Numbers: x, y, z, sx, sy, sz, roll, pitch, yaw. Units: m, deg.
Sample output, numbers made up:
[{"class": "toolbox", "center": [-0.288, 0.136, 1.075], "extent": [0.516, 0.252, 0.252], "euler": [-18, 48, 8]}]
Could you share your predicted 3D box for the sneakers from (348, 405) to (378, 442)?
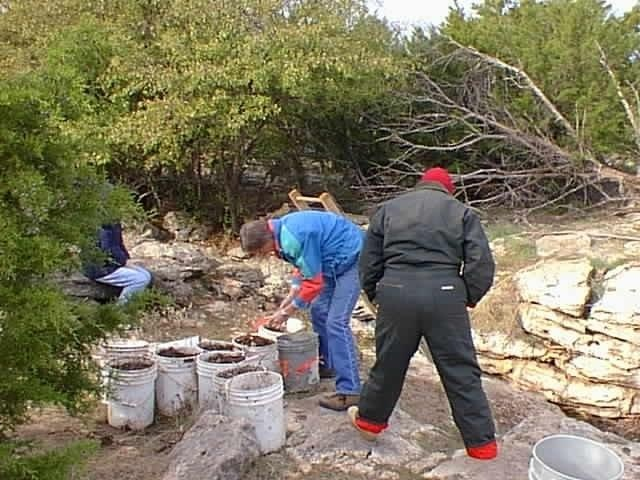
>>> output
[{"class": "sneakers", "center": [0.461, 2.111, 8.004], "extent": [0.184, 0.223, 0.521], "euler": [-1, 23, -27]}]

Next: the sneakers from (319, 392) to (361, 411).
[{"class": "sneakers", "center": [0.258, 1.948, 8.458], "extent": [0.536, 0.221, 0.191], "euler": [6, 9, 4]}]

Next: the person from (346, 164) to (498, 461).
[{"class": "person", "center": [1.208, 0.930, 7.648], "extent": [1.499, 2.982, 0.408], "euler": [-2, 4, 14]}]

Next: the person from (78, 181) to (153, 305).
[{"class": "person", "center": [-3.062, 0.337, 10.366], "extent": [0.847, 1.796, 0.759], "euler": [0, 16, 3]}]

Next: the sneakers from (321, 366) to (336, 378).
[{"class": "sneakers", "center": [0.126, 1.800, 9.314], "extent": [0.202, 0.063, 0.111], "euler": [-3, 0, 22]}]
